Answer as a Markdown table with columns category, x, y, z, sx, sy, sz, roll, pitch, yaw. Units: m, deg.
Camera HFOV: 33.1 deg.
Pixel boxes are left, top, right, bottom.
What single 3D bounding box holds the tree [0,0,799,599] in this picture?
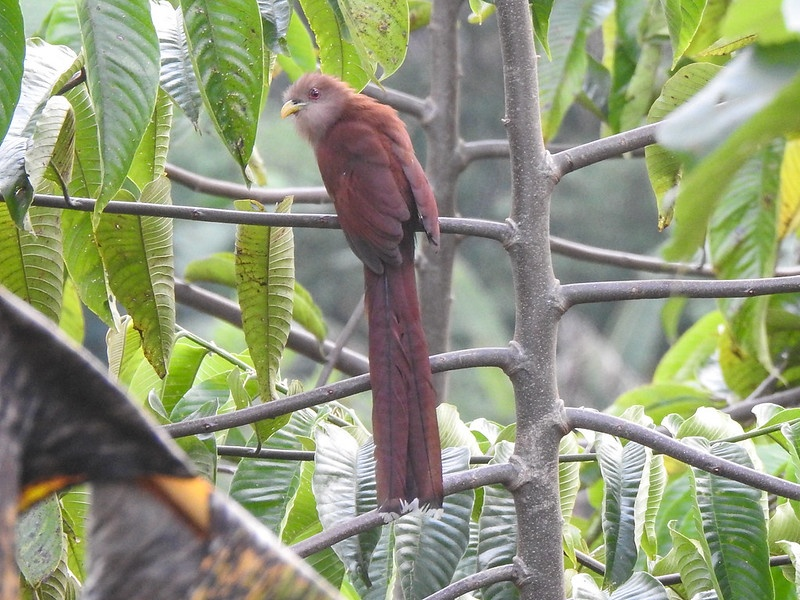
| category | x | y | z | sx | sy | sz | roll | pitch | yaw |
| --- | --- | --- | --- | --- | --- | --- | --- | --- | --- |
| tree | 0.286 | -0.036 | 3.860 | 1.624 | 1.908 | 1.623 | 4 | 5 | 31 |

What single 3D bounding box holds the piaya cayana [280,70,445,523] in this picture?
| category | x | y | z | sx | sy | sz | roll | pitch | yaw |
| --- | --- | --- | --- | --- | --- | --- | --- | --- | --- |
| piaya cayana | -0.058 | -0.040 | 3.948 | 0.331 | 1.373 | 0.448 | 13 | -40 | -35 |
